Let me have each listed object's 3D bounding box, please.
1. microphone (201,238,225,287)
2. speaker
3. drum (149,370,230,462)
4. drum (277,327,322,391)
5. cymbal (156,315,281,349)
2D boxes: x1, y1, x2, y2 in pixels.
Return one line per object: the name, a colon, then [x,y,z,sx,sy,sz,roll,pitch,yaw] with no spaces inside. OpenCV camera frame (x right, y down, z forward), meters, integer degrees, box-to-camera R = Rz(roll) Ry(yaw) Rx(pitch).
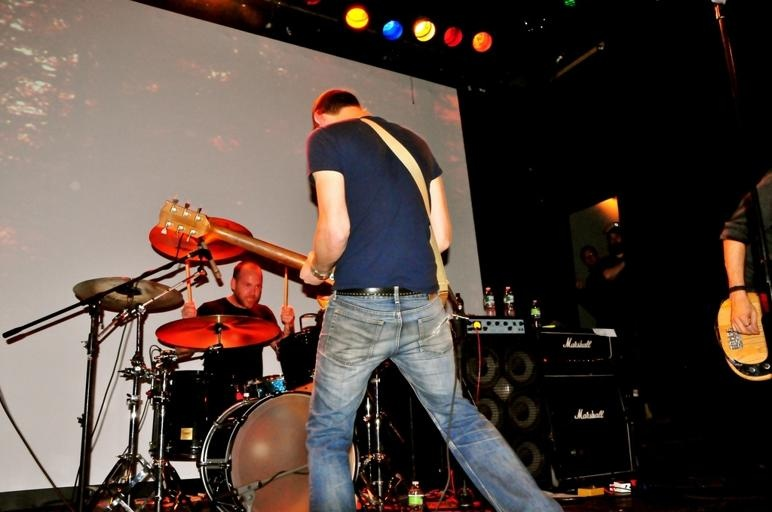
microphone: [-1.464,0.041,5.492,0.084,0.553,0.095,-18,-48,-9]
speaker: [0.778,1.259,5.387,1.093,1.336,1.106,-9,-19,25]
drum: [-1.421,1.232,5.258,0.697,0.648,0.708,-7,-11,38]
drum: [-0.670,0.774,5.007,0.363,0.470,0.163,19,9,38]
cymbal: [-1.336,0.630,5.263,0.954,0.223,0.512,-1,-20,-8]
